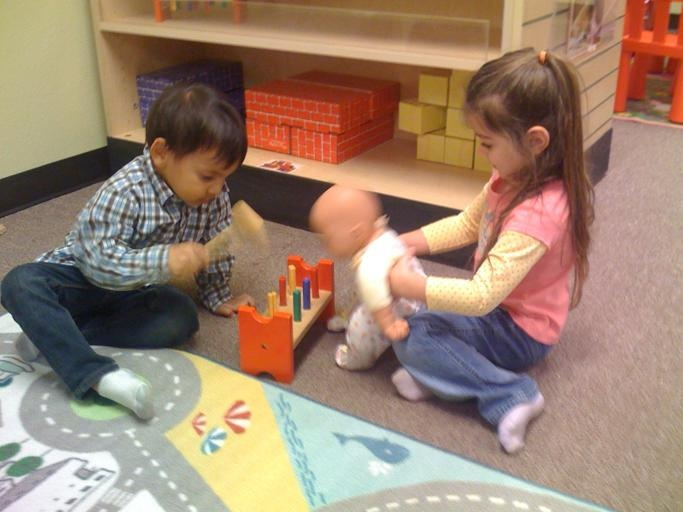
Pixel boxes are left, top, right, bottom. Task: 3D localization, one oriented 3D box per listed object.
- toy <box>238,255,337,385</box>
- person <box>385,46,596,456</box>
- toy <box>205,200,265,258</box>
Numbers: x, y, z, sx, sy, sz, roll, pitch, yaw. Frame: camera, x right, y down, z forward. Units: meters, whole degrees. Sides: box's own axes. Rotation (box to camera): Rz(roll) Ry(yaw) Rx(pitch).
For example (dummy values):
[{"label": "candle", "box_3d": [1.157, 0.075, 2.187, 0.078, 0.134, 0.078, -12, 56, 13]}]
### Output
[{"label": "toy", "box_3d": [-0.122, 0.139, 1.298, 0.132, 0.177, 0.313, 7, 24, 16]}, {"label": "person", "box_3d": [0.306, -0.039, 1.208, 0.415, 0.773, 0.557, -9, 22, -20]}, {"label": "toy", "box_3d": [-0.299, -0.076, 1.415, 0.039, 0.169, 0.122, 32, 1, 38]}]
